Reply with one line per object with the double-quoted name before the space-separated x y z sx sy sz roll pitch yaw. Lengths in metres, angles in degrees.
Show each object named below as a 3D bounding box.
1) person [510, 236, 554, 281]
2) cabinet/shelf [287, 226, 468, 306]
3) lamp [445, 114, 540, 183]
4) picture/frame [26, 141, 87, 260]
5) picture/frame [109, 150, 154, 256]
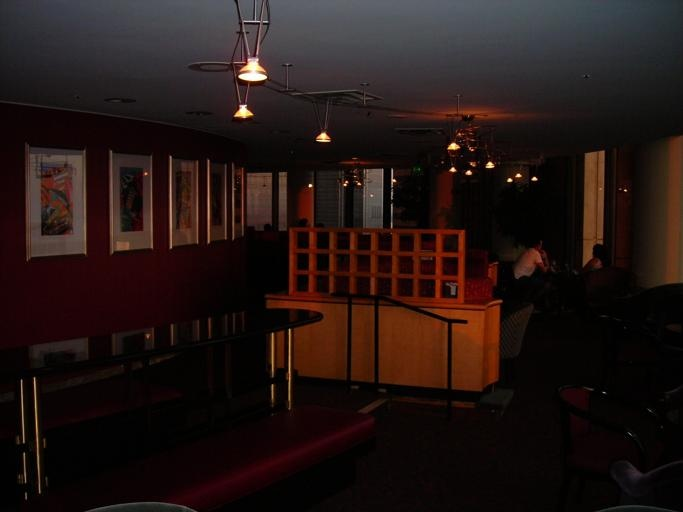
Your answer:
"person" 3.620 0.055 10.467 1.008 0.695 0.424 -6 9 -41
"cabinet/shelf" 0.437 0.044 6.681 2.089 0.794 0.985 2 7 14
"lamp" 1.893 -1.460 7.782 1.520 0.831 1.488 -8 11 -39
"picture/frame" -3.390 -0.638 6.658 0.131 1.257 0.746 3 7 27
"picture/frame" -2.806 -0.723 7.481 0.143 1.291 0.743 2 7 21
